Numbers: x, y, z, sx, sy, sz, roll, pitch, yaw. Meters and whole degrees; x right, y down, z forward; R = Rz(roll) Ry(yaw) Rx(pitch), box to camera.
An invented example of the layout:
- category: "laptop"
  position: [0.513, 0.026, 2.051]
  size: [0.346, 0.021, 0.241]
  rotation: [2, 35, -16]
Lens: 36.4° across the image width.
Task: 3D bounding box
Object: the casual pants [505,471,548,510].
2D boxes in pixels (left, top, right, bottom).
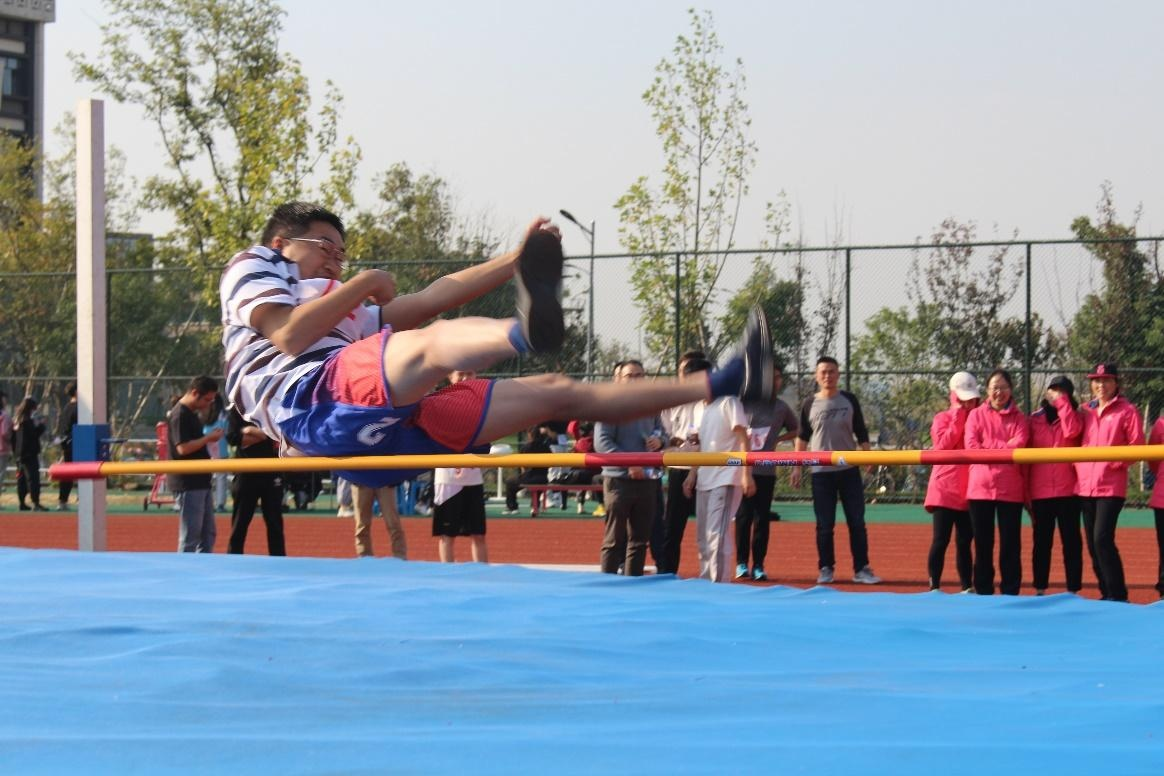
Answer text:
- category: "casual pants"
  position: [-0.785, 1.347, 24.660]
  size: [0.826, 0.381, 0.503]
  rotation: [0, -7, -4]

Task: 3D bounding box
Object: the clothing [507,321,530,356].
- category: "clothing"
  position: [-0.467, -0.375, 13.217]
  size: [0.193, 0.180, 0.223]
  rotation: [1, 31, -2]

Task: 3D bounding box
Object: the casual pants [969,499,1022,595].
- category: "casual pants"
  position: [3.966, 1.518, 16.878]
  size: [0.517, 0.868, 0.295]
  rotation: [1, -4, -1]

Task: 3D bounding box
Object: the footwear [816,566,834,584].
- category: "footwear"
  position: [2.515, 1.958, 18.180]
  size: [0.108, 0.113, 0.274]
  rotation: [-3, -12, 16]

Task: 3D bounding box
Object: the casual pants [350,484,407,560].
- category: "casual pants"
  position: [-2.057, 1.300, 18.199]
  size: [0.477, 1.354, 0.317]
  rotation: [3, 40, 0]

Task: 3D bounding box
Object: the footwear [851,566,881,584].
- category: "footwear"
  position: [2.933, 1.964, 18.241]
  size: [0.280, 0.160, 0.140]
  rotation: [-2, -5, 35]

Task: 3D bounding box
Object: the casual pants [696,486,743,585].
- category: "casual pants"
  position: [1.262, 1.361, 16.515]
  size: [0.426, 0.882, 0.336]
  rotation: [0, -4, 13]

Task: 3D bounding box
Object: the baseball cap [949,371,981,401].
- category: "baseball cap"
  position: [3.772, -0.009, 17.386]
  size: [0.248, 0.189, 0.374]
  rotation: [-1, -2, -6]

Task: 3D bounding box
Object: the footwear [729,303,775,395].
- category: "footwear"
  position: [1.306, -0.280, 13.310]
  size: [0.283, 0.674, 0.210]
  rotation: [11, -11, -30]

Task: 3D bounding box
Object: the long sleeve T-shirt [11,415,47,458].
- category: "long sleeve T-shirt"
  position: [-7.890, 0.685, 25.241]
  size: [0.538, 0.628, 0.461]
  rotation: [7, 14, 21]

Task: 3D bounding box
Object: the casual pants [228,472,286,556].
- category: "casual pants"
  position: [-3.292, 1.272, 18.095]
  size: [0.621, 1.021, 0.311]
  rotation: [6, 14, -3]

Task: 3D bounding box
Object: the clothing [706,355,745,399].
- category: "clothing"
  position: [1.097, -0.074, 13.273]
  size: [0.124, 0.307, 0.301]
  rotation: [52, -7, -38]

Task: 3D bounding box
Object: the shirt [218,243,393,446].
- category: "shirt"
  position: [-1.976, -0.456, 13.849]
  size: [1.495, 1.575, 1.304]
  rotation: [6, -16, -39]

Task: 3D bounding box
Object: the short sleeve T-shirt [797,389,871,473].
- category: "short sleeve T-shirt"
  position: [2.618, 0.403, 18.295]
  size: [0.831, 0.817, 0.426]
  rotation: [0, 13, 18]

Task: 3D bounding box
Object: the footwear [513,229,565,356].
- category: "footwear"
  position: [-0.324, -0.689, 13.327]
  size: [0.391, 0.977, 0.440]
  rotation: [-2, -4, -28]

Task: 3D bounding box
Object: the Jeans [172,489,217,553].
- category: "Jeans"
  position: [-3.929, 1.341, 17.951]
  size: [0.330, 0.648, 0.696]
  rotation: [1, -4, -6]

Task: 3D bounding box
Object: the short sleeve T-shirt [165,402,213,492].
- category: "short sleeve T-shirt"
  position: [-3.877, 0.589, 17.535]
  size: [0.569, 1.022, 0.992]
  rotation: [-2, 0, -10]

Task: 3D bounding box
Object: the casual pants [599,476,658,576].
- category: "casual pants"
  position: [0.478, 1.330, 17.005]
  size: [0.555, 0.915, 0.523]
  rotation: [1, -4, -6]
